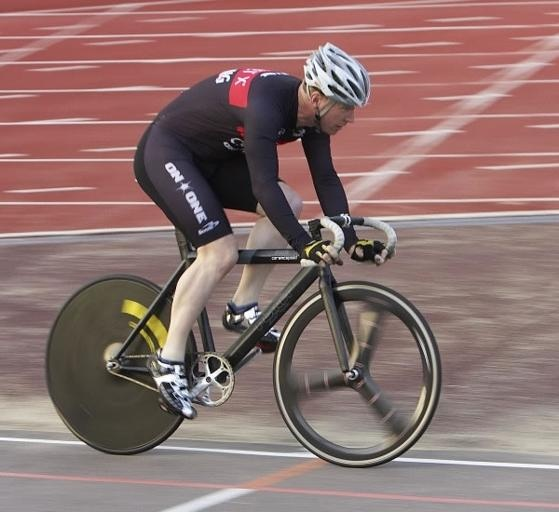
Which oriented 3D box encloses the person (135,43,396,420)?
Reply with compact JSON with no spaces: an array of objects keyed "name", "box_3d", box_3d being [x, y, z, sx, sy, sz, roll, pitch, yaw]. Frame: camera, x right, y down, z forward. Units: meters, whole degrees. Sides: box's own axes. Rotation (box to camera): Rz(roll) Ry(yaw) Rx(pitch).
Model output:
[{"name":"person","box_3d":[-0.112,-0.118,3.632,1.260,1.637,0.711,-8,17,6]}]
